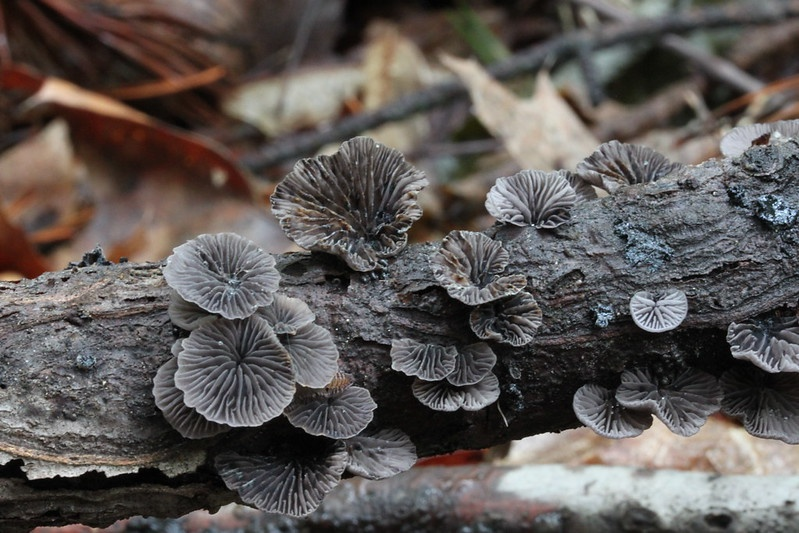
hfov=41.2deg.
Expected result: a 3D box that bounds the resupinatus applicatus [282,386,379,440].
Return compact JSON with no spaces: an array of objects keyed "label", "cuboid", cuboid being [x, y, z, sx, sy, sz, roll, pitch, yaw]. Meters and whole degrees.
[{"label":"resupinatus applicatus","cuboid":[-0.435,0.944,6.897,0.423,0.157,0.384,-9,44,-9]}]
